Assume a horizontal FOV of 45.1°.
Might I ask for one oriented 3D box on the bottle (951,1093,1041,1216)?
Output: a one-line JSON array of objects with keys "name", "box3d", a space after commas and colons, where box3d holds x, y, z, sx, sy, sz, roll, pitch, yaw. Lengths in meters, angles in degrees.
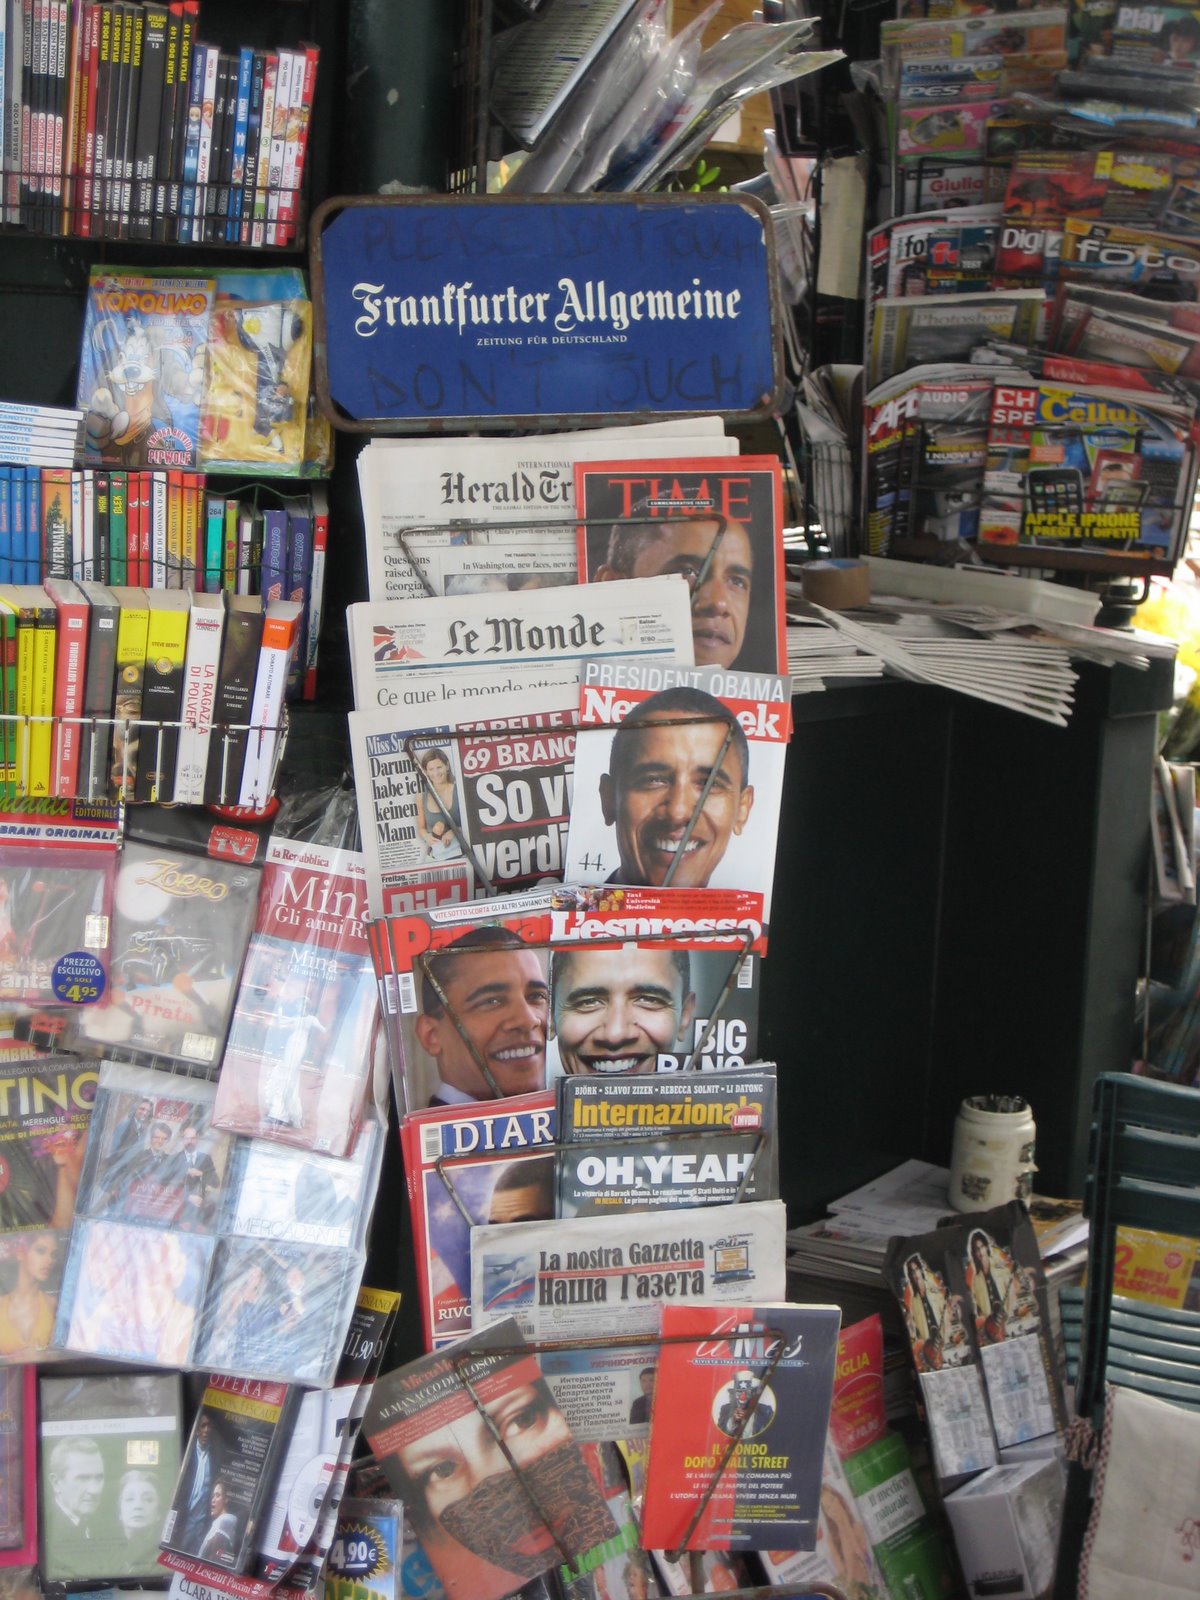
[{"name": "bottle", "box3d": [0.576, 0.522, 2.175, 0.120, 0.176, 0.116, 1, 15, 0]}]
